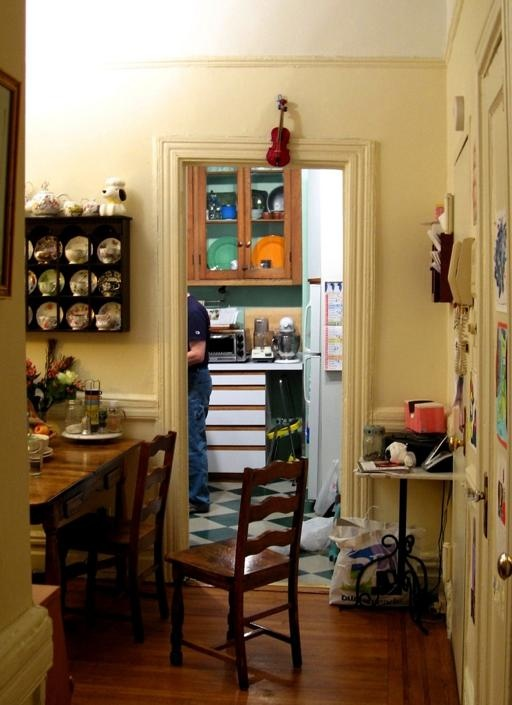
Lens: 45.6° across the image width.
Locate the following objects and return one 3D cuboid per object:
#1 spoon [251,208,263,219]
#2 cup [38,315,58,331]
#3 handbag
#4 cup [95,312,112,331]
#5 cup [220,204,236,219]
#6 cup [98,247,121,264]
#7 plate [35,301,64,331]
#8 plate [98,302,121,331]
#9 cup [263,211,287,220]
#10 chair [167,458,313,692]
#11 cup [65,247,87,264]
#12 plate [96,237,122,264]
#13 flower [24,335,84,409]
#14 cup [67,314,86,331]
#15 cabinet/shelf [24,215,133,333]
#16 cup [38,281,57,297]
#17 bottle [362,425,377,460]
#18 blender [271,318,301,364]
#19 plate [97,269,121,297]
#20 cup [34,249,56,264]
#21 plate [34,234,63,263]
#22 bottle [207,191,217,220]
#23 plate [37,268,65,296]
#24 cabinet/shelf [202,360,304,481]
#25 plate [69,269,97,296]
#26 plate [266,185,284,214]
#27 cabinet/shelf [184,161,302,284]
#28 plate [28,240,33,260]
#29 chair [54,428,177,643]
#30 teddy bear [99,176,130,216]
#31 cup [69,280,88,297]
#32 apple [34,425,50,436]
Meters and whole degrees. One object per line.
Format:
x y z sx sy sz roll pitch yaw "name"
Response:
0.004 -1.231 5.402 0.075 0.056 0.079 2 12 20 "spoon"
-1.128 -0.162 3.302 0.068 0.061 0.085 0 -5 -17 "cup"
0.611 1.009 2.983 0.475 0.464 0.199 1 7 6 "handbag"
-0.810 -0.165 3.241 0.073 0.085 0.072 0 3 0 "cup"
-0.240 -1.247 5.387 0.113 0.105 0.125 0 5 -2 "cup"
-0.775 -0.520 3.233 0.090 0.071 0.091 -2 11 0 "cup"
-1.132 -0.202 3.345 0.160 0.123 0.141 6 -5 -3 "plate"
-0.787 -0.188 3.303 0.131 0.116 0.157 0 -8 -5 "plate"
0.158 -1.220 5.423 0.118 0.048 0.090 2 7 21 "cup"
-0.079 0.846 2.601 0.569 0.867 0.914 1 -1 1 "chair"
-0.967 -0.520 3.288 0.081 0.063 0.087 0 1 0 "cup"
-0.777 -0.540 3.255 0.139 0.113 0.124 1 2 34 "plate"
-1.046 0.095 3.192 0.283 0.404 0.310 13 -8 -20 "flower"
-0.971 -0.163 3.296 0.120 0.083 0.038 0 -1 23 "cup"
-0.932 -0.433 3.275 0.600 0.711 0.179 0 -2 7 "cabinet/shelf"
-1.140 -0.351 3.341 0.076 0.070 0.083 0 -1 0 "cup"
0.551 0.444 3.041 0.067 0.163 0.161 1 -1 -8 "bottle"
0.294 -0.121 5.738 0.270 0.425 0.246 0 2 6 "blender"
-0.784 -0.368 3.288 0.118 0.101 0.140 -5 -5 -15 "plate"
-1.157 -0.525 3.342 0.073 0.065 0.088 0 -2 -9 "cup"
-1.147 -0.565 3.363 0.148 0.165 0.036 11 -2 13 "plate"
-0.387 -1.313 5.430 0.093 0.238 0.072 1 -1 -5 "bottle"
-1.125 -0.378 3.342 0.143 0.126 0.134 4 -1 -40 "plate"
-0.103 0.462 5.725 1.223 1.350 0.865 -1 -9 2 "cabinet/shelf"
-0.946 -0.377 3.345 0.139 0.111 0.148 1 -6 5 "plate"
0.175 -1.351 5.419 0.191 0.214 0.083 3 12 2 "plate"
-0.099 -1.156 5.392 0.840 1.108 0.377 -1 12 -1 "cabinet/shelf"
-1.248 -0.572 3.367 0.021 0.078 0.074 1 0 -6 "plate"
-0.648 0.804 2.799 0.508 0.839 0.533 3 -2 34 "chair"
-0.770 -0.822 3.263 0.146 0.207 0.158 1 -1 -3 "teddy bear"
-0.956 -0.351 3.303 0.089 0.067 0.098 0 0 0 "cup"
-1.027 0.373 2.958 0.059 0.066 0.059 -17 -6 5 "apple"
